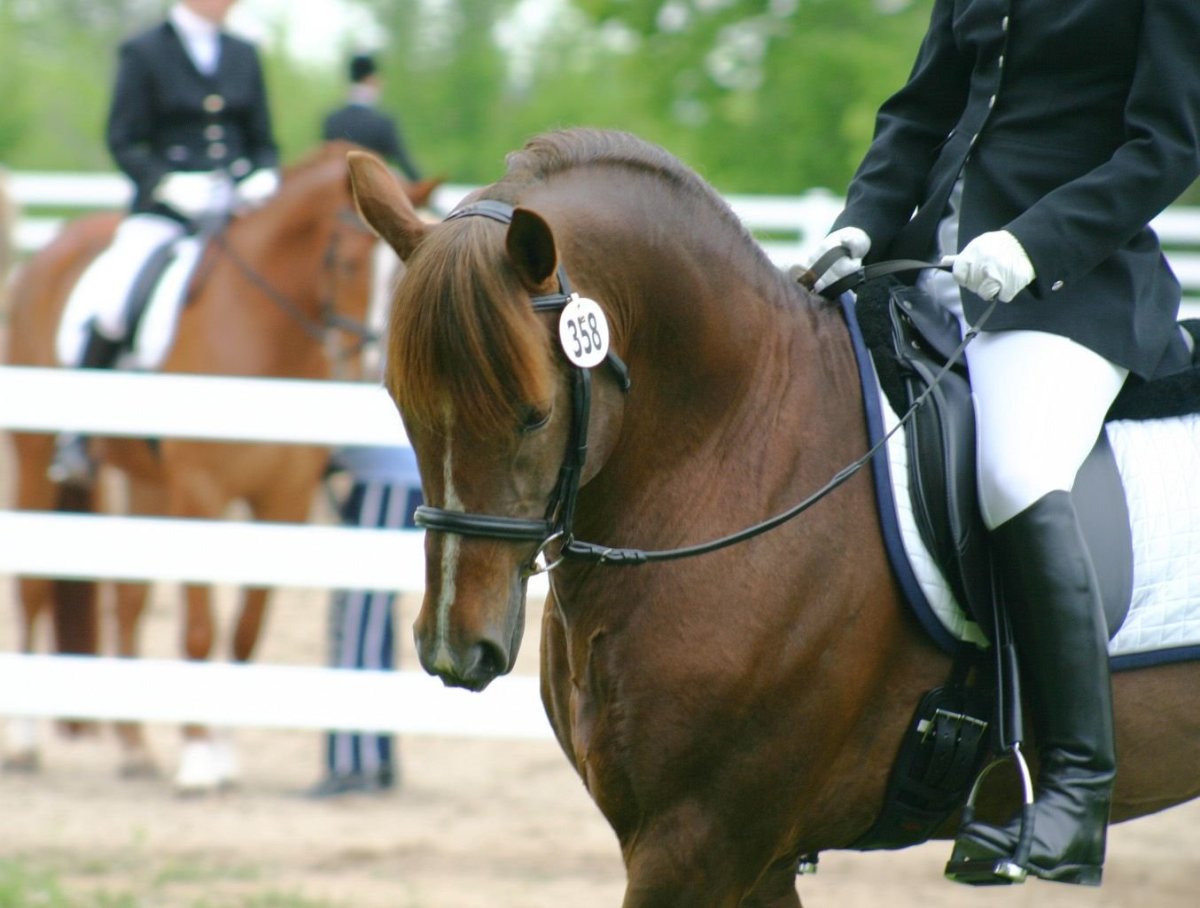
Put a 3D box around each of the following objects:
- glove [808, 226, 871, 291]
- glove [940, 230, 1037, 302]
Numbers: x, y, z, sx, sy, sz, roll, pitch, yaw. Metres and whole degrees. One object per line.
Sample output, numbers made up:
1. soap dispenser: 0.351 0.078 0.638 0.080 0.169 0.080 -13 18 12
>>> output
1. glove: 0.885 -0.674 8.648 0.106 0.246 0.172 38 -11 -30
2. glove: 1.363 -0.648 8.281 0.262 0.224 0.128 -18 -15 8
